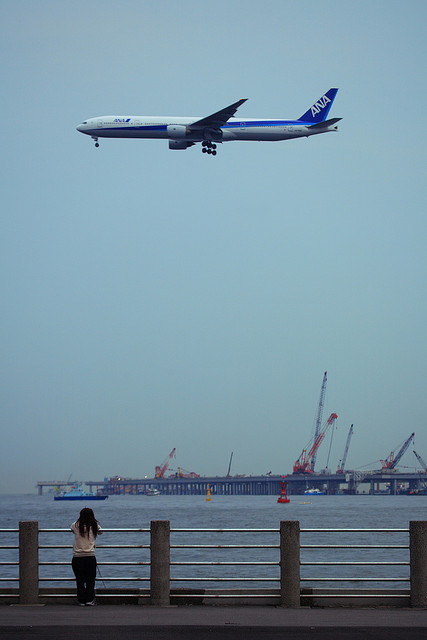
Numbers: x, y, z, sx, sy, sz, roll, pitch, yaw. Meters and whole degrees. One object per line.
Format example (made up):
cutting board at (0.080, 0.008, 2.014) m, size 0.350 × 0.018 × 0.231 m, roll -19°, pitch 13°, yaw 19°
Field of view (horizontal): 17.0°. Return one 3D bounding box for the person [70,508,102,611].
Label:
person at (-2.274, 4.222, 25.334) m, size 0.517 × 1.805 × 0.970 m, roll 4°, pitch -14°, yaw -5°

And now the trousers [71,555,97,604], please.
trousers at (-2.288, 4.548, 25.245) m, size 0.455 × 0.832 × 0.607 m, roll 4°, pitch -15°, yaw -4°

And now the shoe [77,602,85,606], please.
shoe at (-2.339, 5.026, 25.417) m, size 0.060 × 0.037 × 0.099 m, roll -1°, pitch -6°, yaw 42°
